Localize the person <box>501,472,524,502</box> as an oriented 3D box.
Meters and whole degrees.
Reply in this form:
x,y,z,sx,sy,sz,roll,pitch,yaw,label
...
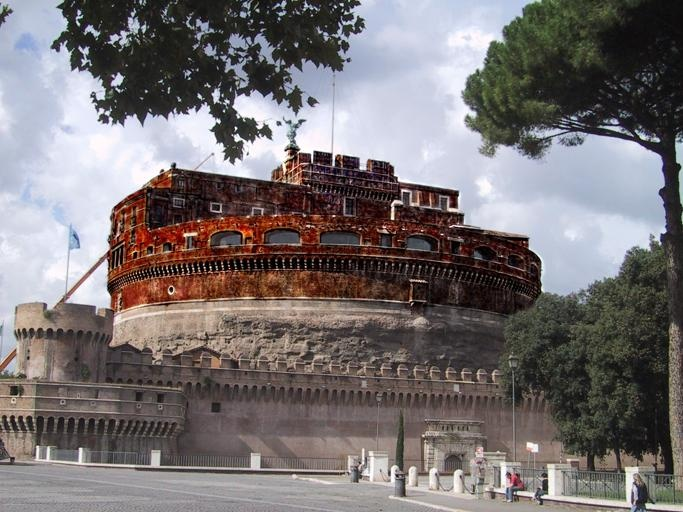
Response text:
x,y,z,sx,sy,sz,roll,pitch,yaw,label
7.245,9.803,49.564,1.057,1.763,0.759,0,-43,10,person

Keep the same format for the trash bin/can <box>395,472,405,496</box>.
x,y,z,sx,sy,sz,roll,pitch,yaw,label
2.415,9.645,48.942,0.438,0.995,0.697,5,9,10,trash bin/can
